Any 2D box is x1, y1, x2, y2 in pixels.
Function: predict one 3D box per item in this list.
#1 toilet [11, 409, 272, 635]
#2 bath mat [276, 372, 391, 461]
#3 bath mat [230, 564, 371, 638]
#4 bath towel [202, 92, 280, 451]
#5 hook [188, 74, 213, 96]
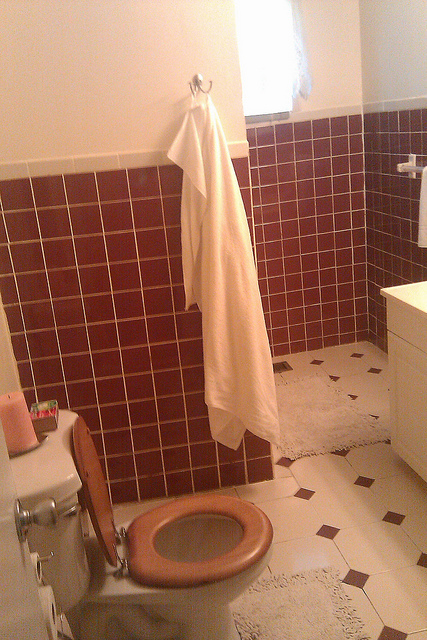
[{"bbox_3d":[-0.186,0.410,1.243,0.479,0.722,0.386,-7,14,-6],"label":"toilet"},{"bbox_3d":[0.560,0.492,2.666,0.542,0.093,0.746,-7,13,-5],"label":"bath mat"},{"bbox_3d":[0.255,0.829,1.442,0.228,0.014,0.238,-13,15,-3],"label":"bath mat"},{"bbox_3d":[0.081,-0.089,1.763,0.200,1.399,0.377,-12,15,-23],"label":"bath towel"},{"bbox_3d":[-0.049,-0.801,1.708,0.056,0.093,0.084,8,5,13],"label":"hook"}]
